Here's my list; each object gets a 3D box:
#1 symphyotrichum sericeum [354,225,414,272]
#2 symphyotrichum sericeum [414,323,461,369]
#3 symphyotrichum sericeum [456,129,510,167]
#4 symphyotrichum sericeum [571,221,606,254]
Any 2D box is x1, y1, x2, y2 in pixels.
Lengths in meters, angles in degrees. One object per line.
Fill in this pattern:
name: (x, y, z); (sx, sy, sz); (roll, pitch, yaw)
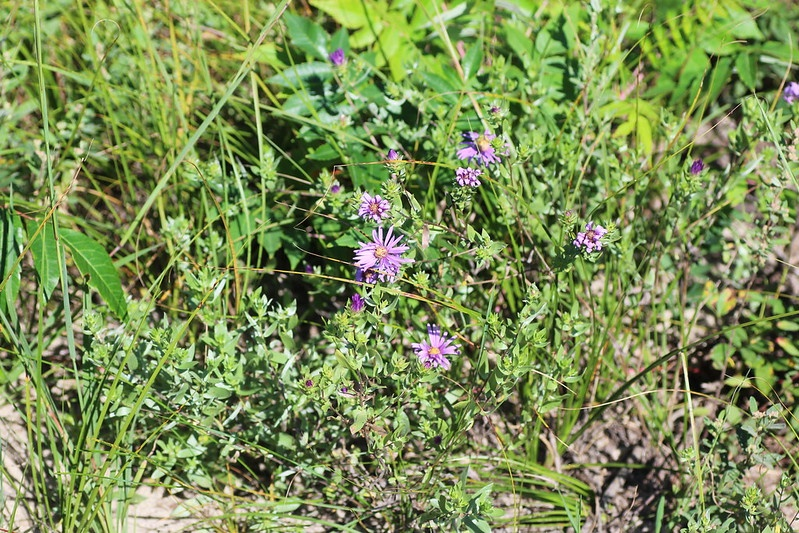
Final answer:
symphyotrichum sericeum: (-0.053, -0.090, 2.468); (0.221, 0.253, 0.076); (3, 86, -3)
symphyotrichum sericeum: (0.112, 0.297, 2.447); (0.132, 0.067, 0.166); (0, 71, -20)
symphyotrichum sericeum: (0.294, -0.418, 2.593); (0.146, 0.048, 0.166); (25, 58, 14)
symphyotrichum sericeum: (0.626, -0.113, 2.416); (0.085, 0.107, 0.039); (11, 22, 4)
